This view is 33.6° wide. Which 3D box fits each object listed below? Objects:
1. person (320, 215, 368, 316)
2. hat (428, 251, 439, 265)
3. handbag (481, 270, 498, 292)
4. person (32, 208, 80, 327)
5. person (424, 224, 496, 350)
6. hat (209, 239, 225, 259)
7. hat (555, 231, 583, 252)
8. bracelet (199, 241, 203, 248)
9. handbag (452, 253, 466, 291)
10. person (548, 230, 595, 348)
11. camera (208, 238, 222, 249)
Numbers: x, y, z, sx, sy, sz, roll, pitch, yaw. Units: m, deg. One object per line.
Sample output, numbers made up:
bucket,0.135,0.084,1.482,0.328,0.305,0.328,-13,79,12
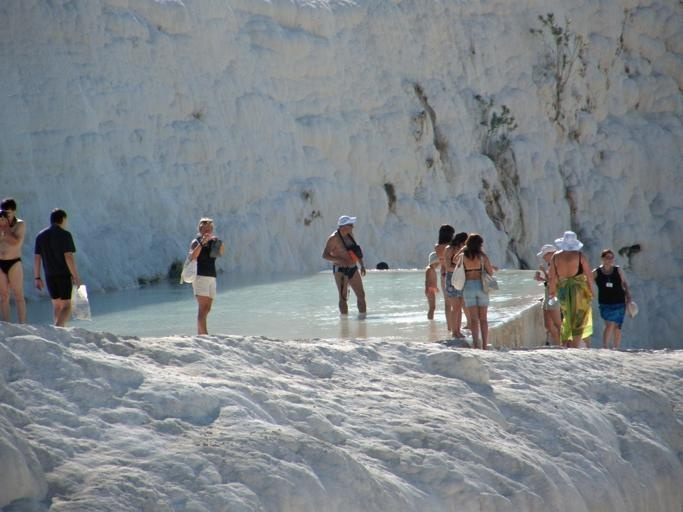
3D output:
person,0.082,0.204,22.989,0.799,1.985,1.022,-2,0,1
hat,1.770,0.071,22.088,0.246,0.143,0.196,-39,4,10
handbag,2.738,0.460,21.065,0.307,0.484,0.171,-2,-12,-39
person,-5.256,0.212,20.861,0.829,2.233,0.470,-2,0,-5
person,2.438,0.655,21.234,0.789,2.048,1.108,-2,0,-40
hat,-2.313,-0.141,21.038,0.206,0.372,0.146,2,6,5
hat,5.058,-0.345,25.347,0.573,0.392,0.657,1,14,0
bracelet,-2.610,-0.217,20.936,0.060,0.106,0.091,-1,-15,-2
handbag,2.178,0.273,21.116,0.264,0.670,0.215,-2,0,6
person,4.415,0.703,21.833,0.714,2.526,0.662,0,17,12
camera,-2.333,-0.234,20.916,0.139,0.122,0.207,3,4,22
